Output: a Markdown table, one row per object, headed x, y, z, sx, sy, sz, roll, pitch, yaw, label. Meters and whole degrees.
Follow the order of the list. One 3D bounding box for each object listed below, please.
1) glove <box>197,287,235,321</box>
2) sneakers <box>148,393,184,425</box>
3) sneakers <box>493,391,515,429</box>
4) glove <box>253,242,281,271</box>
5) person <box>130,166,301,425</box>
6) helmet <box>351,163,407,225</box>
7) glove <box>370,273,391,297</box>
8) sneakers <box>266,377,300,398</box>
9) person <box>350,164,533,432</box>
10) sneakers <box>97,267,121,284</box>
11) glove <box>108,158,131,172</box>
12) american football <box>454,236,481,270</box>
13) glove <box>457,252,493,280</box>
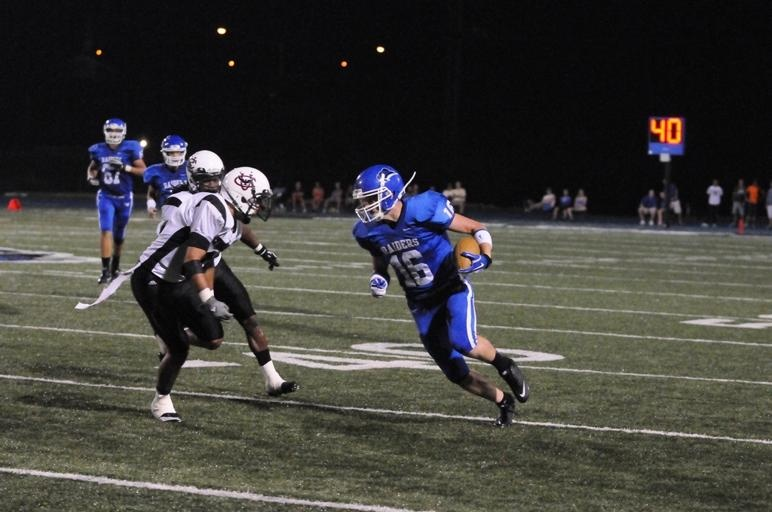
| x | y | z | sx | sy | sz | roll | pitch | yaw | label |
| --- | --- | --- | --- | --- | --- | --- | --- | --- | --- |
| -1.401 | 0.390 | 7.516 | 0.195 | 0.321 | 0.132 | -42 | -1 | -33 | glove |
| -1.835 | 1.243 | 7.632 | 0.244 | 0.223 | 0.228 | -1 | 9 | -15 | sneakers |
| 1.001 | 1.294 | 7.724 | 0.173 | 0.329 | 0.114 | 2 | -2 | -24 | sneakers |
| -1.807 | 0.016 | 13.839 | 0.304 | 0.444 | 0.132 | -25 | 20 | 42 | glove |
| -1.548 | 0.285 | 7.887 | 0.889 | 2.049 | 1.111 | 6 | 9 | 28 | person |
| -0.051 | -0.569 | 7.928 | 0.541 | 0.416 | 0.396 | -33 | 15 | -29 | helmet |
| -0.039 | 0.248 | 7.912 | 0.172 | 0.222 | 0.101 | 13 | -1 | 17 | glove |
| -0.940 | 1.174 | 8.247 | 0.370 | 0.115 | 0.170 | -22 | -49 | 39 | sneakers |
| 0.427 | 0.310 | 7.800 | 1.480 | 2.113 | 0.488 | 4 | 9 | 20 | person |
| -4.300 | 0.295 | 14.082 | 0.253 | 0.209 | 0.583 | 5 | 9 | 23 | sneakers |
| -4.232 | -1.473 | 14.408 | 0.289 | 0.115 | 0.204 | 21 | -2 | 27 | glove |
| 0.737 | -0.023 | 7.654 | 0.101 | 0.235 | 0.243 | 28 | -14 | -31 | american football |
| 0.737 | 0.065 | 7.594 | 0.286 | 0.209 | 0.197 | -1 | 9 | -17 | glove |
